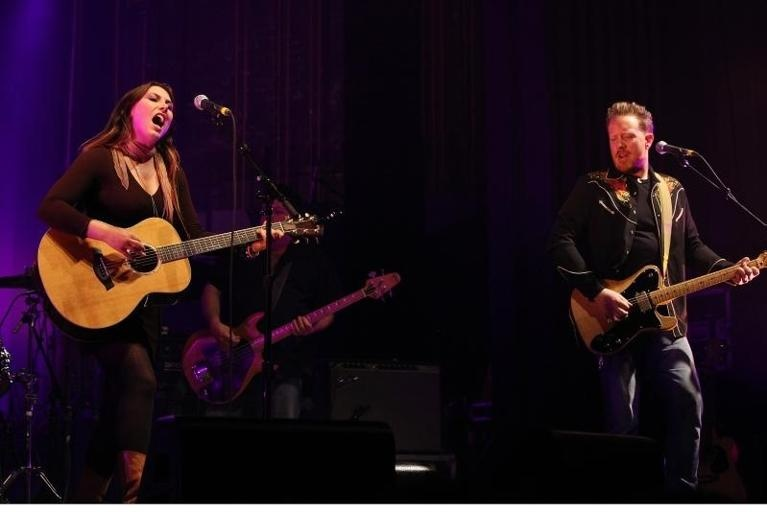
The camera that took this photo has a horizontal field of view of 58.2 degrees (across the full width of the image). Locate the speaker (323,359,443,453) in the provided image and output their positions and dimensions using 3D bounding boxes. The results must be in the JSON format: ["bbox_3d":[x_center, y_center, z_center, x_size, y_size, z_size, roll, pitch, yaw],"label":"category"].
[{"bbox_3d":[-0.038,1.386,5.713,1.065,1.055,0.610,2,-19,-9],"label":"speaker"}]
